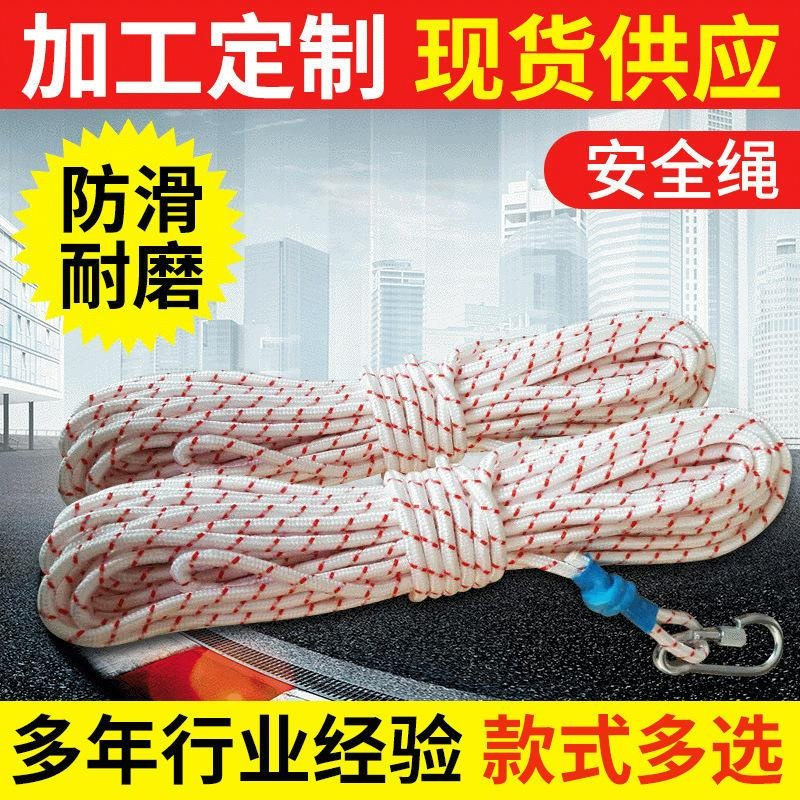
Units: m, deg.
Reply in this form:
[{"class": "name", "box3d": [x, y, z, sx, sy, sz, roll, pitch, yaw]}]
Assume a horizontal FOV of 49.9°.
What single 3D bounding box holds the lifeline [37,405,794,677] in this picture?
[{"class": "lifeline", "box3d": [0.433, 0.192, 1.389, 1.877, 0.303, 0.348, -3, -14, -5]}]
